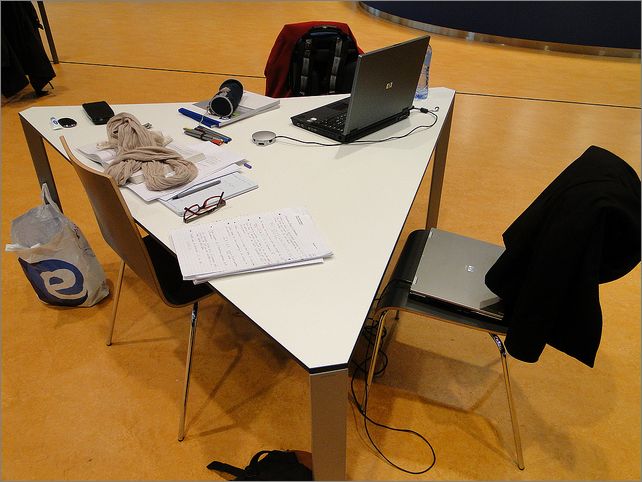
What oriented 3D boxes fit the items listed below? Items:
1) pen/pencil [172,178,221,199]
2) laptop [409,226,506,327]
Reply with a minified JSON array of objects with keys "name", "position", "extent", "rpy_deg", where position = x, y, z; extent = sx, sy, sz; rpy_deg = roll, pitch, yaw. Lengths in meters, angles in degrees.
[{"name":"pen/pencil","position":[-0.520,-0.211,2.132],"extent":[0.184,0.020,0.020],"rpy_deg":[-28,50,-35]},{"name":"laptop","position":[0.558,0.132,2.173],"extent":[0.344,0.074,0.368],"rpy_deg":[15,52,13]}]
